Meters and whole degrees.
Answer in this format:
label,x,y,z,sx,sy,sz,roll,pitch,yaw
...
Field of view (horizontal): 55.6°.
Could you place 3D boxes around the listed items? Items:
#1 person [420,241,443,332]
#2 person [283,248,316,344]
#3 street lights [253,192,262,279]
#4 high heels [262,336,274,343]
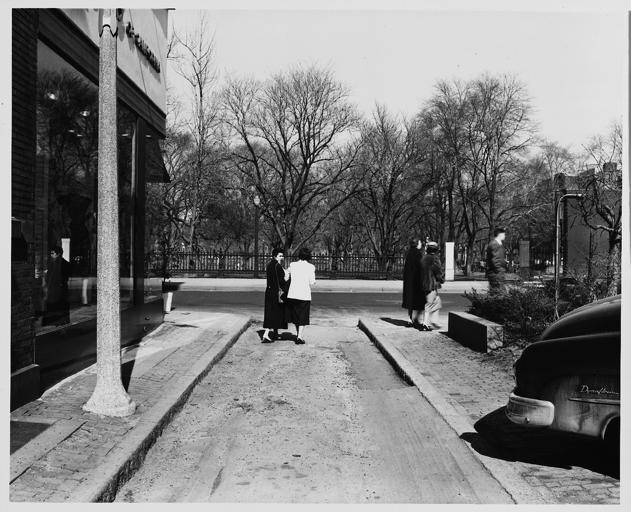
label,x,y,z,sx,sy,sz,roll,pitch,yaw
person,2.497,0.645,12.835,0.460,1.908,1.053,2,4,12
person,-0.332,0.771,11.848,0.556,1.909,0.569,1,4,-6
street lights,-3.069,-0.841,31.288,0.568,4.651,0.624,-2,10,-24
high heels,-0.953,1.679,12.031,0.259,0.144,0.103,-1,3,7
